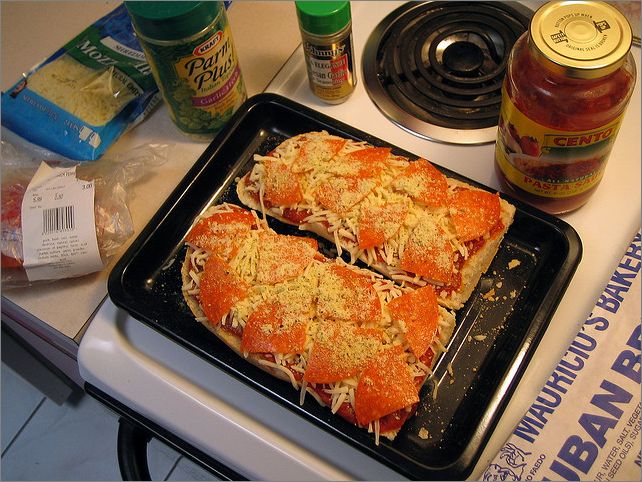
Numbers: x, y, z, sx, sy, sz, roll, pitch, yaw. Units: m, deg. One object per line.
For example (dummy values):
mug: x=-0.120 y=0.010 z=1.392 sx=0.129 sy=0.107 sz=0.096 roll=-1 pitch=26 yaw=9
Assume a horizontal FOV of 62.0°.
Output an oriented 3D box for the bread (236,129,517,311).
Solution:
bread: x=0.136 y=-0.076 z=1.301 sx=0.582 sy=0.143 sz=0.378 roll=28 pitch=75 yaw=12

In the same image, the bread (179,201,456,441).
bread: x=-0.037 y=0.172 z=1.255 sx=0.684 sy=0.128 sz=0.358 roll=22 pitch=82 yaw=9
